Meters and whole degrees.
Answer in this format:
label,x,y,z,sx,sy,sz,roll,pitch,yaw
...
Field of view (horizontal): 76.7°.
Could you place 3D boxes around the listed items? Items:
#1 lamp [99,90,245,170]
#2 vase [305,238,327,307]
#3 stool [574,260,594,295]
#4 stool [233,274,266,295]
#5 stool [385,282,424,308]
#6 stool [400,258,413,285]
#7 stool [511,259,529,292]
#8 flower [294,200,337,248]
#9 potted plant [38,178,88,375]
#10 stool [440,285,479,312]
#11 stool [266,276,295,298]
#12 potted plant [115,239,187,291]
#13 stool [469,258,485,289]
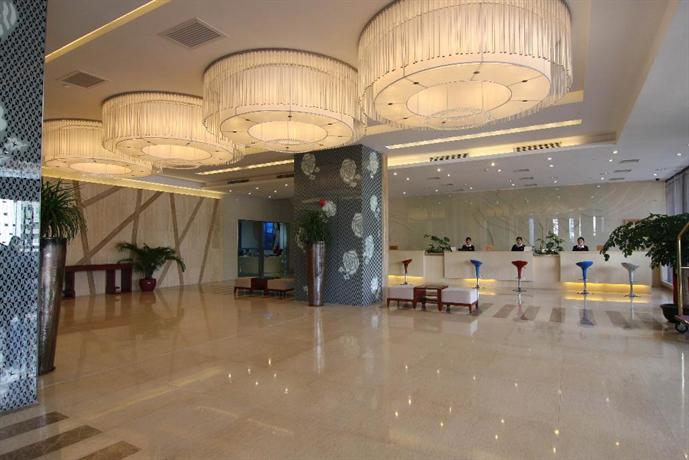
label,x,y,z,sx,sy,sz,roll,pitch,yaw
lamp,-4.108,-2.490,9.867,2.165,0.756,2.162,-2,7,1
vase,-0.765,1.142,11.861,0.519,1.703,0.456,-2,6,-6
stool,7.352,1.400,13.341,0.466,1.021,1.415,3,7,28
stool,-3.021,1.761,14.465,0.949,0.470,0.650,1,4,23
stool,1.558,1.710,11.499,0.899,0.567,0.355,0,6,10
stool,2.264,1.449,15.831,0.423,0.894,1.003,0,6,9
stool,5.708,1.431,14.244,0.485,0.940,1.357,2,6,22
flower,-0.768,-0.070,12.086,0.721,1.036,0.816,1,-1,27
potted plant,-4.746,0.748,7.180,0.724,3.061,0.438,-6,8,-38
stool,2.940,1.717,11.110,0.908,0.636,0.847,1,6,16
stool,-1.968,1.756,13.987,0.688,0.546,0.670,1,5,27
potted plant,-7.172,1.245,15.809,1.666,1.201,1.683,4,-10,-5
stool,4.534,1.436,14.991,0.432,0.911,0.905,1,6,16
